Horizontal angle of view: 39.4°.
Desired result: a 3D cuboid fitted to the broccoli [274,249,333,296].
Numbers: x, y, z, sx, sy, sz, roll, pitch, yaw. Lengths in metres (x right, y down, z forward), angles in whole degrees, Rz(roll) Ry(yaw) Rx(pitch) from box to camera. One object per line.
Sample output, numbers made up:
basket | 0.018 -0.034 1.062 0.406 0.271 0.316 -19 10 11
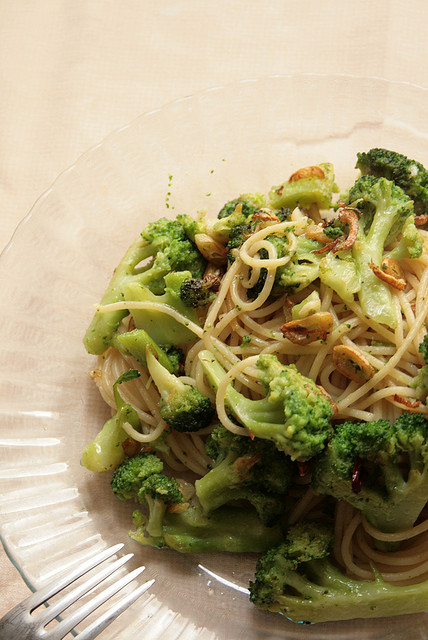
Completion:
broccoli | 0.411 -0.218 2.769 0.254 0.157 0.058 -28 -21 -4

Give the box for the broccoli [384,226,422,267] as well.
broccoli | 0.849 -0.315 2.747 0.069 0.180 0.186 -37 23 -20

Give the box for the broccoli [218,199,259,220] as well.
broccoli | 0.123 -0.576 3.088 0.128 0.045 0.139 -27 27 13

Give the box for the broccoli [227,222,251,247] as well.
broccoli | 0.113 -0.404 2.874 0.046 0.116 0.097 26 21 -26

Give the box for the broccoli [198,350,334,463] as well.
broccoli | 0.235 0.348 2.574 0.569 0.329 0.262 38 -8 36

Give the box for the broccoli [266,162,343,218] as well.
broccoli | 0.485 -0.645 3.219 0.351 0.320 0.122 -12 -39 18

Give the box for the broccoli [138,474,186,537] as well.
broccoli | -0.238 0.852 2.720 0.218 0.290 0.134 -1 7 -4

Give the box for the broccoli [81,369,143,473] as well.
broccoli | -0.491 0.529 2.893 0.315 0.446 0.145 -3 7 -18

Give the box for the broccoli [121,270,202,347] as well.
broccoli | -0.249 -0.050 2.834 0.369 0.330 0.104 -10 14 14
